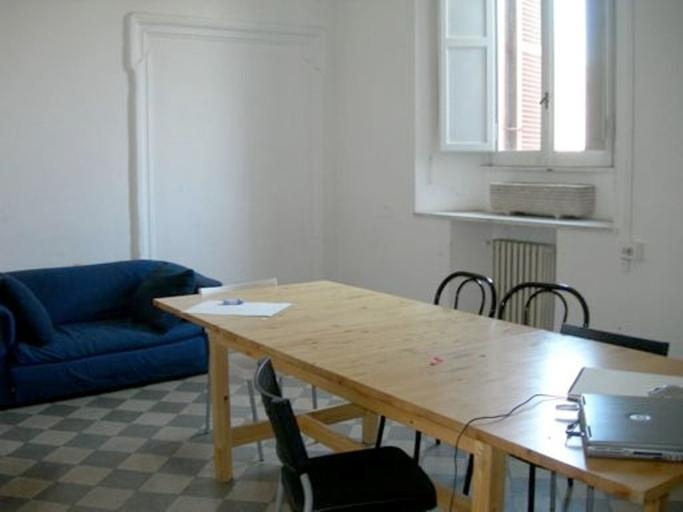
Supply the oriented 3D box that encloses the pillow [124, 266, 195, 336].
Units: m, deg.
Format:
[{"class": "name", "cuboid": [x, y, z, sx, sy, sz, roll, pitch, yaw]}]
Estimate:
[{"class": "pillow", "cuboid": [-1.474, 0.382, 4.921, 0.567, 0.524, 0.173, 23, -1, 41]}]
